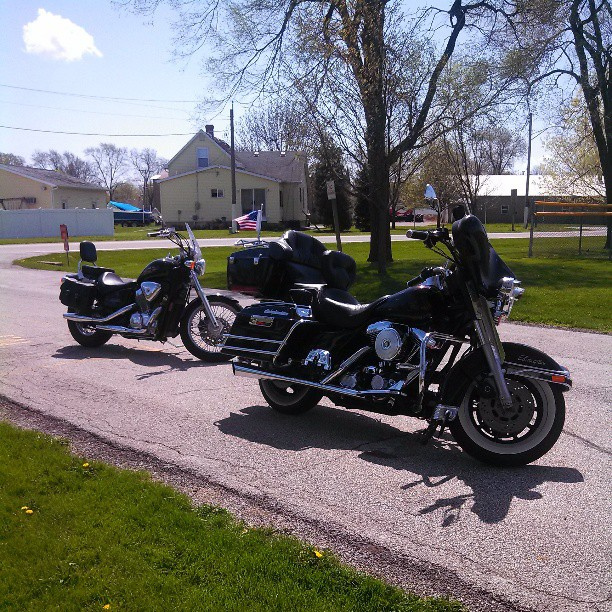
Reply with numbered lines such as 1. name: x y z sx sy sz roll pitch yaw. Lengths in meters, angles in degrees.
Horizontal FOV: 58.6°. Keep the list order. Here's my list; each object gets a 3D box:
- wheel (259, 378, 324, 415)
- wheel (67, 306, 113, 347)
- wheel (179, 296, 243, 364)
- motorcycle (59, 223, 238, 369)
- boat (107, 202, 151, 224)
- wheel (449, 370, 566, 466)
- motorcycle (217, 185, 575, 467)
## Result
1. wheel: -0.151 0.895 5.368 0.462 0.467 0.195 1 2 29
2. wheel: -3.472 0.273 8.782 0.722 0.705 0.186 1 12 15
3. wheel: -1.298 0.325 7.328 0.941 0.947 0.174 -1 -18 20
4. motorcycle: -2.384 -0.173 8.357 3.182 1.886 1.197 5 -2 21
5. boat: -23.223 -11.941 70.523 5.372 2.716 4.745 2 5 8
6. wheel: 1.460 0.802 3.980 0.754 0.802 0.156 1 4 16
7. motorcycle: 0.628 0.234 4.657 2.957 1.779 1.087 5 -1 35
